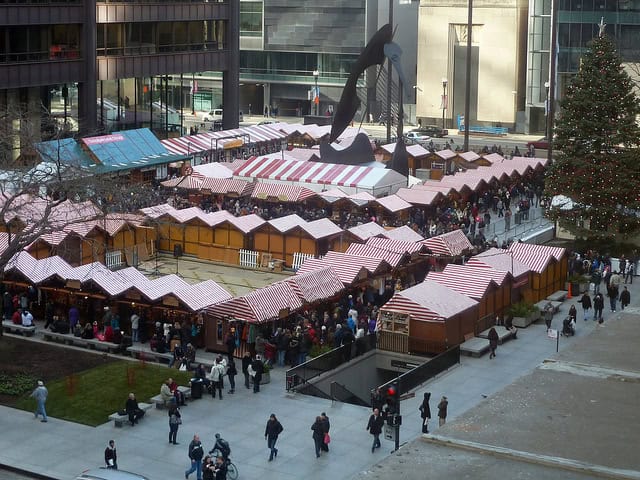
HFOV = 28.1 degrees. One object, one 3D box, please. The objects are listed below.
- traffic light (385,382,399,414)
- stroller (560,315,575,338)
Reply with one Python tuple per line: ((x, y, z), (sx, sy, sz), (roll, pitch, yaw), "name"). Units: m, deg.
((3.676, 7.933, 64.682), (0.608, 1.313, 0.754), (-1, 7, 2), "traffic light")
((15.075, 5.051, 77.540), (0.435, 1.033, 1.795), (6, 20, 20), "stroller")
